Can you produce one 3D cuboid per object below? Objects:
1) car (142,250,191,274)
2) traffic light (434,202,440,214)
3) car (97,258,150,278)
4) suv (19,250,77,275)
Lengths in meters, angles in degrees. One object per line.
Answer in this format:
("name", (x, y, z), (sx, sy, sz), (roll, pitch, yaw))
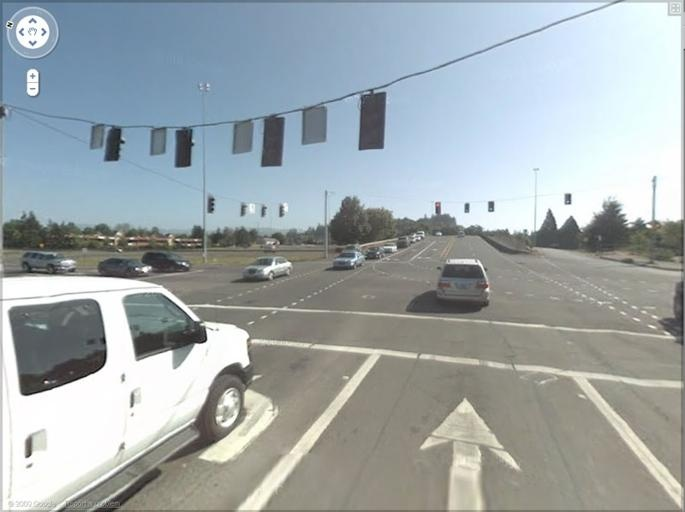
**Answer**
("car", (-10.845, 0.415, 32.510), (2.234, 1.312, 1.450), (0, 7, 4))
("traffic light", (8.312, -4.080, 45.841), (0.271, 1.271, 2.347), (2, 14, 14))
("car", (-11.399, 0.701, 27.223), (1.788, 0.745, 0.917), (0, 3, 22))
("suv", (-16.495, 0.467, 29.325), (2.648, 1.363, 1.441), (2, 5, 16))
